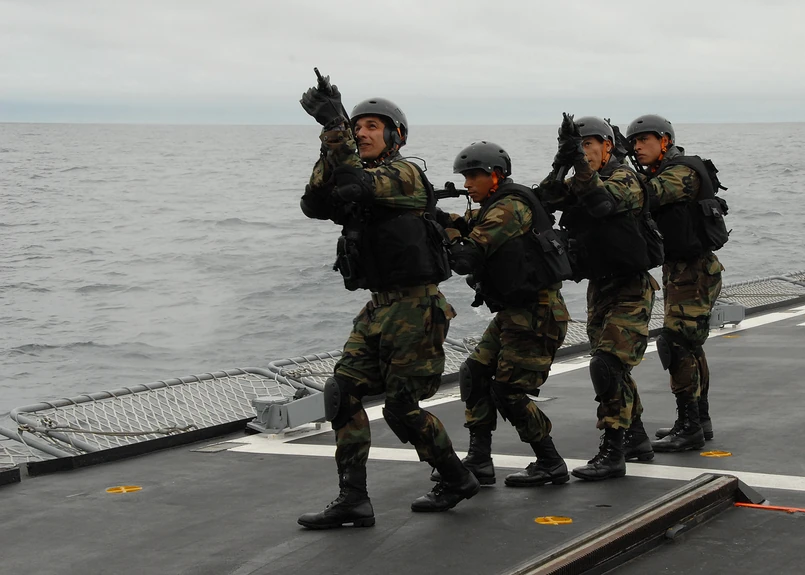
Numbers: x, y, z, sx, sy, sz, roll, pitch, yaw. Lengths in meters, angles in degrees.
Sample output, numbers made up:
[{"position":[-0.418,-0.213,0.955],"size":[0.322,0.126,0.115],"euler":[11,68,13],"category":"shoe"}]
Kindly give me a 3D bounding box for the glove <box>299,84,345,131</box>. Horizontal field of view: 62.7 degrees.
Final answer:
[{"position":[-0.478,-1.084,4.033],"size":[0.256,0.266,0.134],"euler":[-4,13,-1],"category":"glove"}]

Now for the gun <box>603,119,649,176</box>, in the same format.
[{"position":[1.877,-1.281,5.660],"size":[0.325,0.205,0.115],"euler":[-22,-48,38],"category":"gun"}]

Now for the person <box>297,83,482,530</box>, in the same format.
[{"position":[-0.232,0.111,4.262],"size":[1.242,2.821,0.895],"euler":[-10,14,-19],"category":"person"}]

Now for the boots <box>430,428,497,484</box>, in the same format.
[{"position":[0.397,1.259,4.924],"size":[0.638,0.397,0.250],"euler":[12,-22,-33],"category":"boots"}]

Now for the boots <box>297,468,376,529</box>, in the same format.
[{"position":[-0.337,1.341,4.253],"size":[0.674,0.373,0.288],"euler":[-24,-32,38],"category":"boots"}]

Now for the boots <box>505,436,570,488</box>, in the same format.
[{"position":[1.066,1.318,5.008],"size":[0.272,0.344,0.597],"euler":[11,-25,-40],"category":"boots"}]
